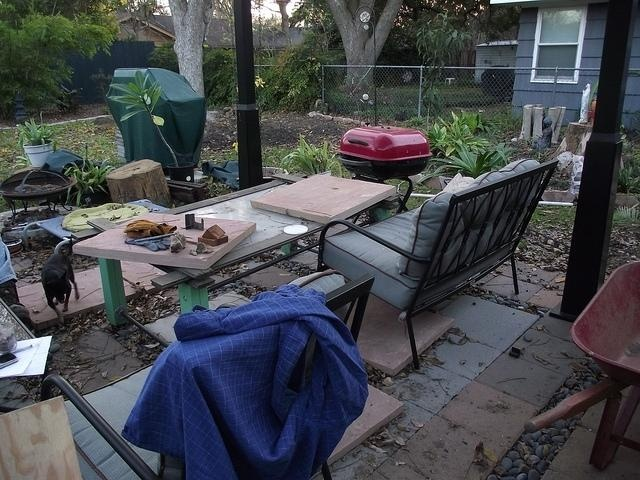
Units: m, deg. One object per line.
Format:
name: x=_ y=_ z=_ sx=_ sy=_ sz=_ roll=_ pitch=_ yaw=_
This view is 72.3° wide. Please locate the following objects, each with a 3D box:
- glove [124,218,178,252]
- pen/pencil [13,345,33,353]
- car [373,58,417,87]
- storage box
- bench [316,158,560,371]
glove: x=-1.049 y=-0.034 z=2.709 sx=0.249 sy=0.084 sz=0.243 roll=12 pitch=17 yaw=25
pen/pencil: x=-1.382 y=0.510 z=2.045 sx=0.020 sy=0.014 sz=0.081 roll=54 pitch=32 yaw=14
car: x=2.718 y=-5.999 z=15.833 sx=1.288 sy=0.771 sz=7.515 roll=1 pitch=20 yaw=8
storage box: x=0.629 y=-0.822 z=3.889 sx=0.671 sy=0.337 sz=0.524 roll=-15 pitch=22 yaw=-40
bench: x=0.654 y=0.119 z=3.527 sx=2.049 sy=1.385 sz=1.416 roll=-21 pitch=30 yaw=-38
